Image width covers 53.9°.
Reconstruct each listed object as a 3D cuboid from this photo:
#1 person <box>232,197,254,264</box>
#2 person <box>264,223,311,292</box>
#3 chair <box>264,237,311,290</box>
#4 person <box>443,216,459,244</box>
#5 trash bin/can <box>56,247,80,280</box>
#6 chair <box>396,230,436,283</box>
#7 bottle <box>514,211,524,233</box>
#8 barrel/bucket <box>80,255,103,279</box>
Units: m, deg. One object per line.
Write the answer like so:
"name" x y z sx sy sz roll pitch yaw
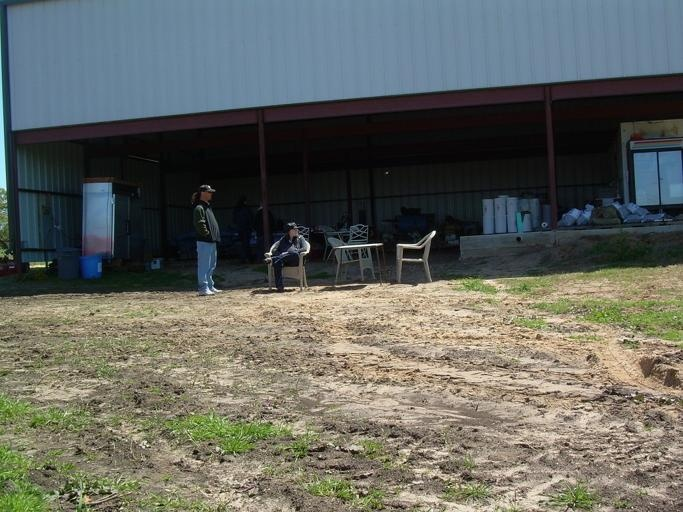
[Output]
"person" -2.419 -0.720 16.833 0.430 1.552 1.227 -3 14 -8
"person" -0.866 0.024 10.867 0.681 1.046 0.663 -2 14 -4
"chair" -0.889 0.014 10.996 0.724 1.018 0.607 -2 7 -14
"person" 3.306 -0.719 20.216 0.457 0.649 1.679 1 14 8
"trash bin/can" -5.754 0.177 14.211 0.467 0.588 0.711 -7 15 -22
"chair" 1.193 0.011 11.071 0.673 0.817 0.661 0 4 -14
"bottle" 3.820 -0.712 14.441 0.141 0.394 0.395 -2 -12 12
"barrel/bucket" -5.187 0.240 13.957 0.460 0.496 0.457 -1 -5 0
